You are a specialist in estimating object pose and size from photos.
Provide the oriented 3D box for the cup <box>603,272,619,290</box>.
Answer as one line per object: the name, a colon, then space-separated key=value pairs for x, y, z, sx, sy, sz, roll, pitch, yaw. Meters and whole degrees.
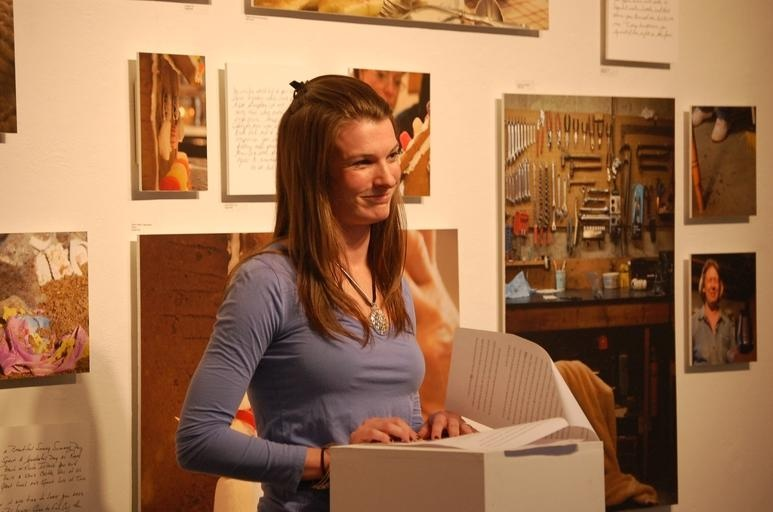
cup: x=1.102 y=0.122 z=3.555 sx=0.067 sy=0.064 sz=0.078 roll=-1 pitch=-2 yaw=-9

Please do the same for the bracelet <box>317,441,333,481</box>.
bracelet: x=-0.192 y=0.639 z=2.254 sx=0.065 sy=0.100 sz=0.040 roll=-1 pitch=-10 yaw=1

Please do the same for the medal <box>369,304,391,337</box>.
medal: x=-0.024 y=0.214 z=2.385 sx=0.010 sy=0.109 sz=0.079 roll=-26 pitch=-28 yaw=33
